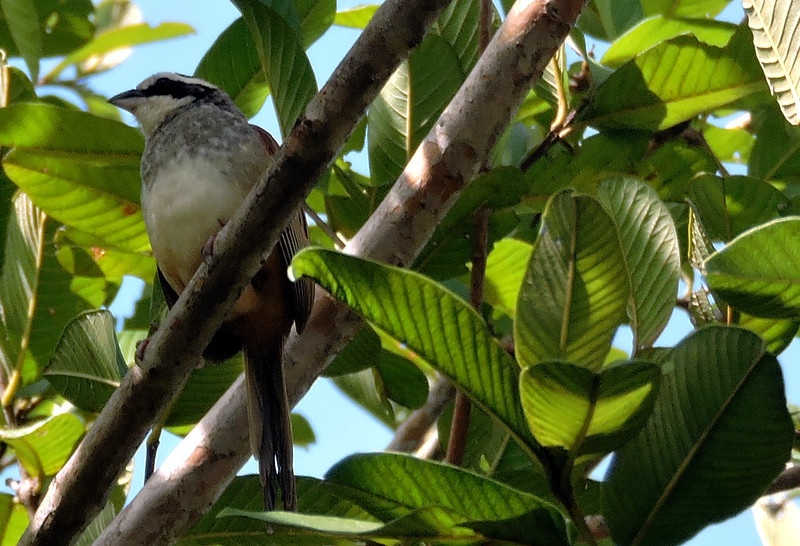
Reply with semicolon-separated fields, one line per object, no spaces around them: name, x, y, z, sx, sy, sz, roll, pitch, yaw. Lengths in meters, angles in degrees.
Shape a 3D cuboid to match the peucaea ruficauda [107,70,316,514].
peucaea ruficauda;-0.677;0.087;4.995;0.508;0.665;1.648;-16;-91;33
